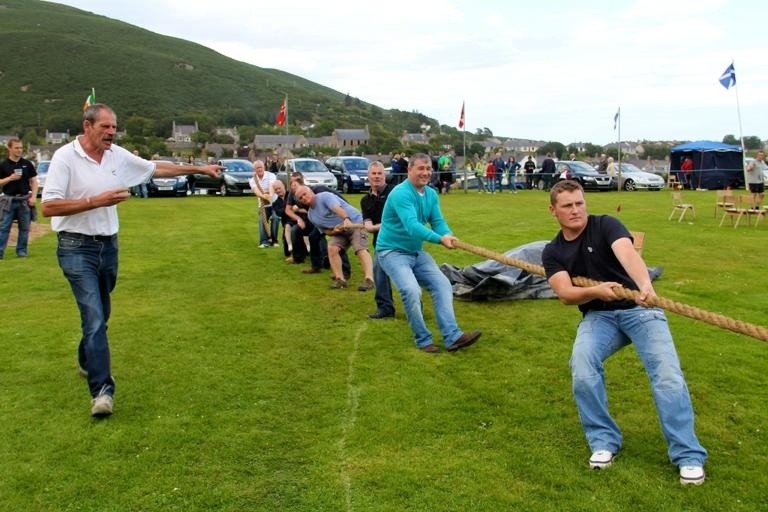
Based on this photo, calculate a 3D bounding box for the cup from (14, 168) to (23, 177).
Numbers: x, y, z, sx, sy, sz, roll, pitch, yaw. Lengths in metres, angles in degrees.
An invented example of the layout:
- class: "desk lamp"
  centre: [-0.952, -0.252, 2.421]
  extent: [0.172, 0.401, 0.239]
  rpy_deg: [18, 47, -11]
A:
- class: "cup"
  centre: [-7.498, -1.723, 12.834]
  extent: [0.149, 0.136, 0.150]
  rpy_deg: [-1, 3, 0]

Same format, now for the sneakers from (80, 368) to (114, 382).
- class: "sneakers"
  centre: [-3.144, 1.308, 6.835]
  extent: [0.214, 0.141, 0.445]
  rpy_deg: [7, -11, 15]

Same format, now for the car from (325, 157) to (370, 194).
- class: "car"
  centre: [-1.643, -3.934, 29.891]
  extent: [1.613, 1.127, 2.533]
  rpy_deg: [-4, 6, -30]

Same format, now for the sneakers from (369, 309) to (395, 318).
- class: "sneakers"
  centre: [-0.015, 0.889, 9.577]
  extent: [0.425, 0.161, 0.133]
  rpy_deg: [1, -1, -6]

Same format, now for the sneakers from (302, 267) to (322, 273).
- class: "sneakers"
  centre: [-1.392, 0.294, 12.127]
  extent: [0.377, 0.142, 0.118]
  rpy_deg: [4, -3, -7]

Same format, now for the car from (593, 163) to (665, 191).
- class: "car"
  centre: [12.603, -4.137, 32.467]
  extent: [1.696, 1.066, 3.505]
  rpy_deg: [-4, 6, -32]

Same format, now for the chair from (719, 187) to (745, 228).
- class: "chair"
  centre: [9.968, -1.268, 17.711]
  extent: [0.677, 0.833, 0.541]
  rpy_deg: [7, 1, -31]

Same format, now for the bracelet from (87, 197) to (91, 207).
- class: "bracelet"
  centre: [-3.086, -0.561, 6.550]
  extent: [0.052, 0.086, 0.030]
  rpy_deg: [-5, 16, -17]

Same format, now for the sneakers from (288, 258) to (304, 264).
- class: "sneakers"
  centre: [-1.833, 0.121, 12.849]
  extent: [0.192, 0.070, 0.146]
  rpy_deg: [4, 2, 45]

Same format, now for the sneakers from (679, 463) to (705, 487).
- class: "sneakers"
  centre: [2.793, 1.970, 5.627]
  extent: [0.253, 0.154, 0.145]
  rpy_deg: [1, 15, 6]

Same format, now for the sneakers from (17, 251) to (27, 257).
- class: "sneakers"
  centre: [-7.534, -0.021, 13.024]
  extent: [0.150, 0.090, 0.060]
  rpy_deg: [4, -34, 22]

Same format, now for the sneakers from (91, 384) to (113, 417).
- class: "sneakers"
  centre: [-2.997, 1.555, 6.639]
  extent: [0.226, 0.307, 0.242]
  rpy_deg: [-7, 16, -23]

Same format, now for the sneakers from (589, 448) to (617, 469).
- class: "sneakers"
  centre: [2.097, 1.919, 5.872]
  extent: [0.304, 0.101, 0.111]
  rpy_deg: [-10, -14, 25]

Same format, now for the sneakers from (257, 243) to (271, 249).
- class: "sneakers"
  centre: [-2.754, -0.214, 14.351]
  extent: [0.265, 0.102, 0.096]
  rpy_deg: [-11, -1, 18]

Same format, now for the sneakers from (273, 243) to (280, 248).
- class: "sneakers"
  centre: [-2.509, -0.236, 14.539]
  extent: [0.116, 0.080, 0.210]
  rpy_deg: [-2, 0, -23]
